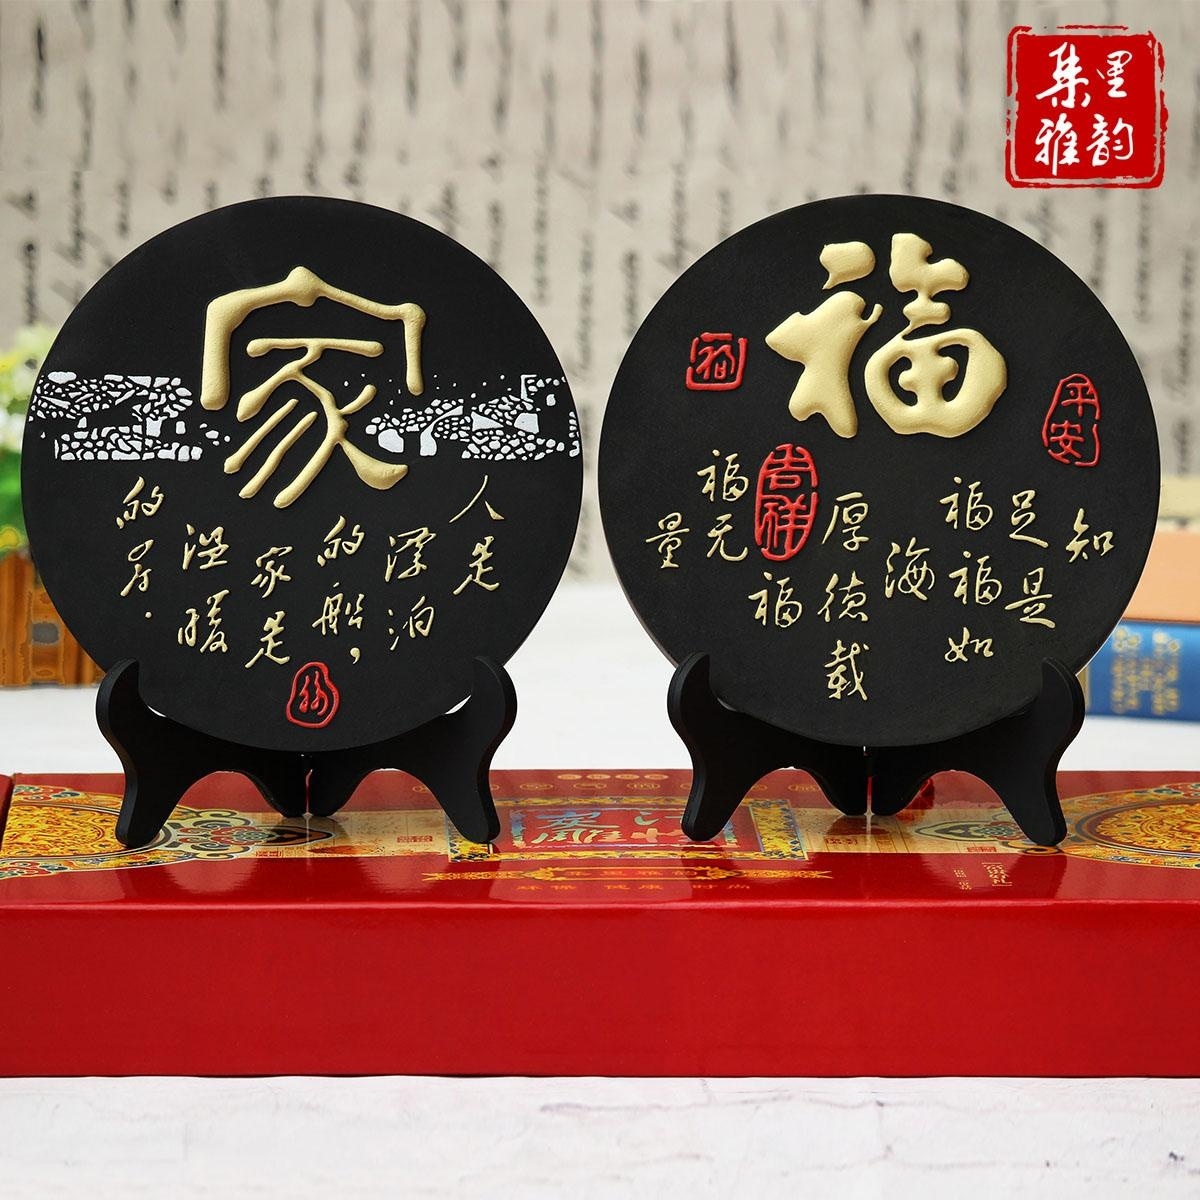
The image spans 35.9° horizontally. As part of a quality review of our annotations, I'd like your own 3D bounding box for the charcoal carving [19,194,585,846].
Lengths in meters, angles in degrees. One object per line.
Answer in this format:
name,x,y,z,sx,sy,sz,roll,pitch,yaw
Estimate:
charcoal carving,-0.304,-0.080,1.934,0.561,0.654,0.237,-4,19,-9
